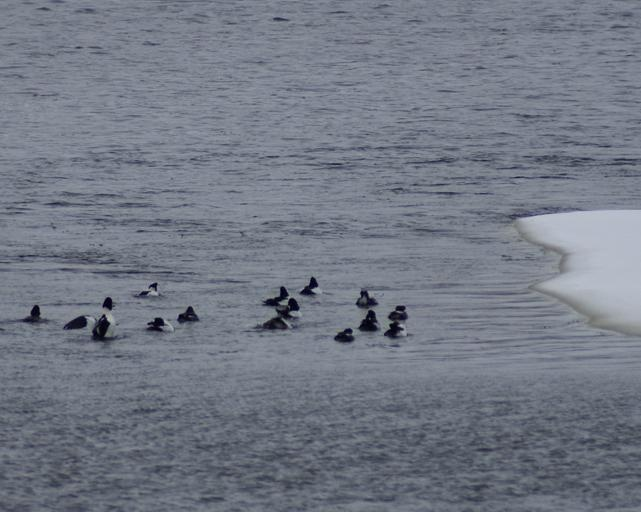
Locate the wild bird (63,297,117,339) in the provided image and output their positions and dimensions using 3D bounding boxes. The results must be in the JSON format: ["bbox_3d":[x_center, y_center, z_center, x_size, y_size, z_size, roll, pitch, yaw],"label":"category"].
[{"bbox_3d":[-5.734,1.568,41.328,1.205,1.013,0.584,4,6,26],"label":"wild bird"}]

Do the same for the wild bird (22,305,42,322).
[{"bbox_3d":[-7.336,1.507,42.014,0.402,0.461,0.137,29,7,-3],"label":"wild bird"}]

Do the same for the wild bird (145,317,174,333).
[{"bbox_3d":[-4.142,1.766,41.621,0.612,0.200,0.495,-2,16,25],"label":"wild bird"}]

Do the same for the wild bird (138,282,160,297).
[{"bbox_3d":[-4.567,0.931,43.852,0.654,0.278,0.331,-5,9,-32],"label":"wild bird"}]

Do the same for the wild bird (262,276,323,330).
[{"bbox_3d":[-0.751,1.226,42.934,0.947,1.164,2.721,3,4,12],"label":"wild bird"}]

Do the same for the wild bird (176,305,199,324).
[{"bbox_3d":[-3.421,1.541,42.278,0.482,0.189,0.550,2,17,-1],"label":"wild bird"}]
